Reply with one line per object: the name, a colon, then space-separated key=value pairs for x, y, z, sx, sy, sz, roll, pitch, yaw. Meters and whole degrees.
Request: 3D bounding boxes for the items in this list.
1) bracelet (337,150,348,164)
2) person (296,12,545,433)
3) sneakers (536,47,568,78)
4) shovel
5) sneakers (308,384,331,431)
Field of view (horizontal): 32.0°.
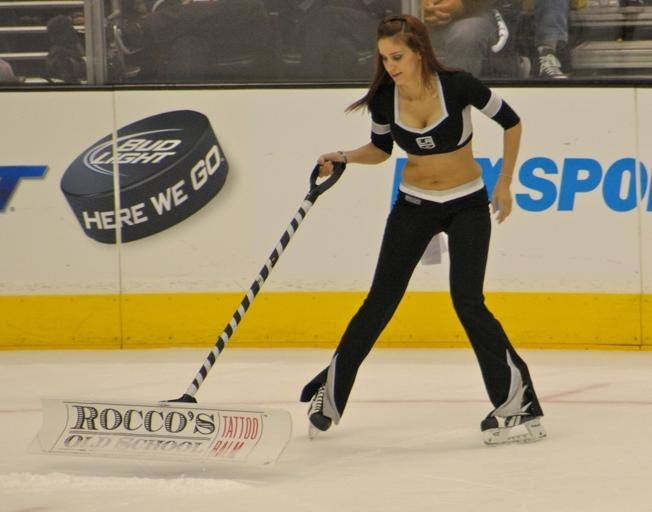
bracelet: x=0.087 y=-0.535 z=6.082 sx=0.060 sy=0.044 sz=0.058 roll=4 pitch=44 yaw=13
person: x=0.506 y=-0.140 z=5.874 sx=1.156 sy=2.177 sz=0.656 roll=-2 pitch=15 yaw=8
sneakers: x=1.452 y=-1.208 z=7.274 sx=0.109 sy=0.158 sz=0.299 roll=-7 pitch=18 yaw=-17
shovel: x=-0.482 y=0.334 z=5.352 sx=1.435 sy=1.844 sz=0.087 roll=8 pitch=39 yaw=-33
sneakers: x=-0.041 y=0.782 z=5.980 sx=0.092 sy=0.112 sz=0.269 roll=19 pitch=36 yaw=-16
